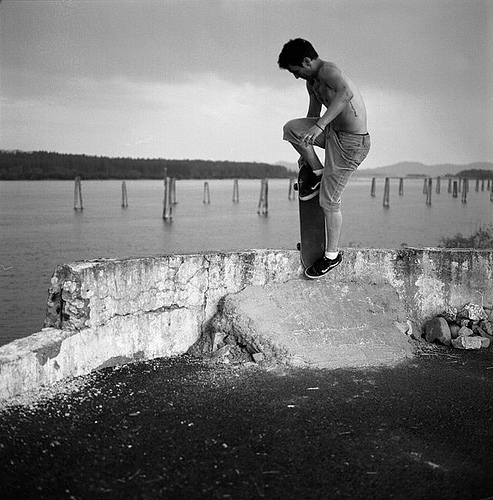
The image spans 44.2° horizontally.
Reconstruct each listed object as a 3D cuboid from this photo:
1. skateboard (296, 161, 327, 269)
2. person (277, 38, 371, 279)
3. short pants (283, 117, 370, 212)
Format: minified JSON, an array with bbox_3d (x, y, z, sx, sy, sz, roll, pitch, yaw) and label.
[{"bbox_3d":[0.592,-0.252,5.842,0.231,1.186,0.148,-5,3,-21],"label":"skateboard"},{"bbox_3d":[0.675,-0.702,5.269,0.783,2.154,0.891,2,10,8],"label":"person"},{"bbox_3d":[0.716,-0.675,5.538,0.663,1.231,0.508,8,23,17],"label":"short pants"}]
